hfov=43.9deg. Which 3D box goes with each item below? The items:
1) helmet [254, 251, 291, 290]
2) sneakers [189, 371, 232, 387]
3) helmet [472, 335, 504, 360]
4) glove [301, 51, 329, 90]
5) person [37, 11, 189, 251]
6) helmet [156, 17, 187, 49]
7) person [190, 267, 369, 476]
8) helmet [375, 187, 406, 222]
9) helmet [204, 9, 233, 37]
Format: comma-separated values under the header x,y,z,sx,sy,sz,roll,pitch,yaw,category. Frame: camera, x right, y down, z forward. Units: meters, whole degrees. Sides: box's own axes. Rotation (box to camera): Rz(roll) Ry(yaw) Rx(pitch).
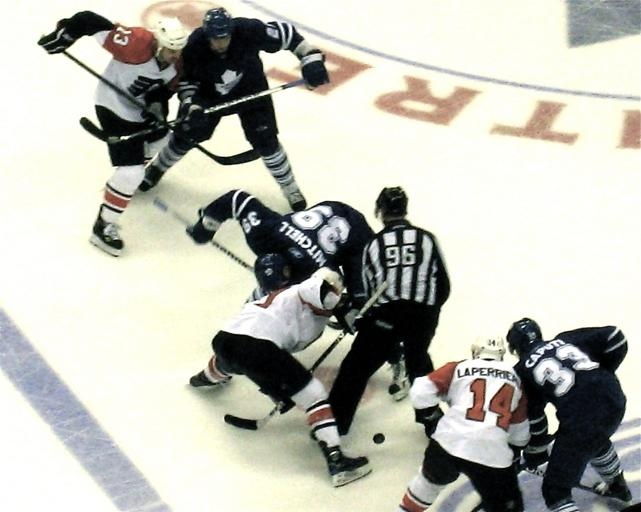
x,y,z,sx,sy,sz,roll,pitch,yaw,category
-0.325,0.102,5.303,0.217,0.243,0.227,-13,60,-21,helmet
-0.746,0.861,5.475,0.373,0.135,0.108,-2,66,-3,sneakers
1.027,0.557,4.895,0.154,0.138,0.159,8,15,-8,helmet
-0.051,-1.474,6.315,0.258,0.271,0.117,-15,21,-7,glove
-1.519,-0.967,6.139,0.768,1.775,0.843,-16,38,-35,person
-1.078,-1.592,5.713,0.198,0.191,0.220,-10,33,-29,helmet
-0.236,0.811,5.257,0.630,0.834,1.179,-8,32,-36,person
0.482,-0.370,5.597,0.222,0.235,0.259,-3,23,-14,helmet
-0.750,-1.708,5.883,0.210,0.202,0.234,-3,0,-10,helmet
